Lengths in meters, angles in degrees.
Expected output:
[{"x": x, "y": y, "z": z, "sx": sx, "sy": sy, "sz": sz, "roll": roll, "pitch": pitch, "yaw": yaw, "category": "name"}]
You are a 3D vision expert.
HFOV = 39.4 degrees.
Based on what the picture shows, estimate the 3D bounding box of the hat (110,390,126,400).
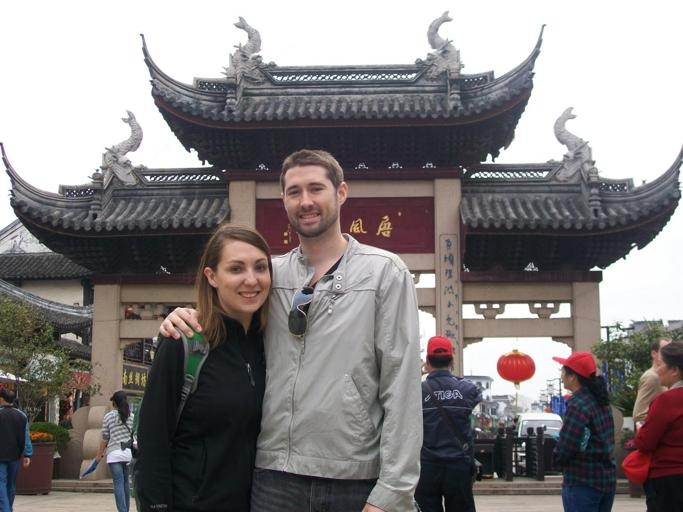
[{"x": -3.404, "y": 2.120, "z": 14.638, "sx": 0.205, "sy": 0.195, "sz": 0.159, "roll": -22, "pitch": -25, "yaw": 39, "category": "hat"}]

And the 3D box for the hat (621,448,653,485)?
[{"x": 3.404, "y": 2.422, "z": 10.897, "sx": 0.144, "sy": 0.364, "sz": 0.331, "roll": 18, "pitch": -12, "yaw": -21, "category": "hat"}]

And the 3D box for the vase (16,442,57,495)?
[{"x": -5.436, "y": 3.819, "z": 17.045, "sx": 0.790, "sy": 0.801, "sz": 0.772, "roll": -10, "pitch": -18, "yaw": 28, "category": "vase"}]
